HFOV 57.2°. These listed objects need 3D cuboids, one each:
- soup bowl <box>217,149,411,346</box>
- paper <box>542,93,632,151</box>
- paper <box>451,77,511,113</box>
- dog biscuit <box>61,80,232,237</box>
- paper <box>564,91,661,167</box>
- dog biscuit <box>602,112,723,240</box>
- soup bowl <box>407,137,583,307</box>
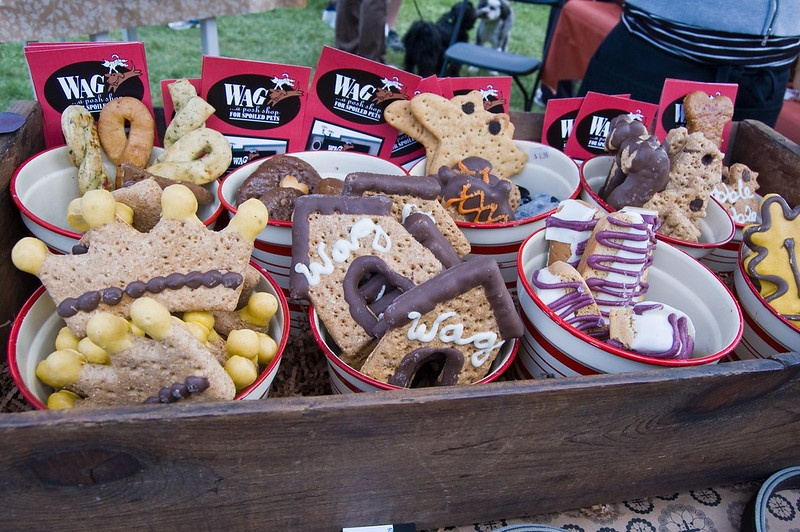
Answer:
[{"bbox_3d":[-0.260,-0.121,1.980,0.477,0.348,0.479,5,39,-4],"label":"soup bowl"},{"bbox_3d":[0.535,-0.406,2.082,0.258,0.172,0.013,5,36,-12],"label":"paper"},{"bbox_3d":[0.225,-0.487,2.072,0.144,0.096,0.003,-3,30,-5],"label":"paper"},{"bbox_3d":[-0.651,-0.311,1.894,0.398,0.127,0.382,-5,74,-9],"label":"dog biscuit"},{"bbox_3d":[0.585,-0.374,2.034,0.263,0.255,0.013,15,35,-9],"label":"paper"},{"bbox_3d":[0.670,-0.205,1.975,0.329,0.146,0.322,24,77,-1],"label":"dog biscuit"},{"bbox_3d":[0.299,-0.082,2.095,0.441,0.313,0.427,1,48,-1],"label":"soup bowl"}]
